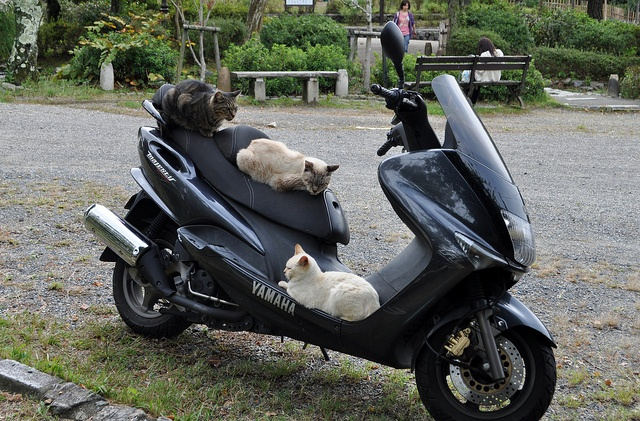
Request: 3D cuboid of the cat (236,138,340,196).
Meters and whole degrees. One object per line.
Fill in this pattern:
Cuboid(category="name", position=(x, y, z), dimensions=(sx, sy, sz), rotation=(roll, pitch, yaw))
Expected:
Cuboid(category="cat", position=(-0.301, -0.485, 6.141), dimensions=(0.769, 0.350, 0.509), rotation=(21, 34, 6))

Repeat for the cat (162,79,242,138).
Cuboid(category="cat", position=(-1.188, -1.047, 6.495), dimensions=(0.875, 0.516, 0.465), rotation=(27, 21, 28))

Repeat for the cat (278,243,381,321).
Cuboid(category="cat", position=(0.112, 0.623, 5.819), dimensions=(0.779, 0.456, 0.490), rotation=(21, 5, 10))

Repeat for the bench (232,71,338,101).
Cuboid(category="bench", position=(-0.726, -3.440, 18.038), dimensions=(3.076, 0.858, 0.808), rotation=(-3, 17, -13))
